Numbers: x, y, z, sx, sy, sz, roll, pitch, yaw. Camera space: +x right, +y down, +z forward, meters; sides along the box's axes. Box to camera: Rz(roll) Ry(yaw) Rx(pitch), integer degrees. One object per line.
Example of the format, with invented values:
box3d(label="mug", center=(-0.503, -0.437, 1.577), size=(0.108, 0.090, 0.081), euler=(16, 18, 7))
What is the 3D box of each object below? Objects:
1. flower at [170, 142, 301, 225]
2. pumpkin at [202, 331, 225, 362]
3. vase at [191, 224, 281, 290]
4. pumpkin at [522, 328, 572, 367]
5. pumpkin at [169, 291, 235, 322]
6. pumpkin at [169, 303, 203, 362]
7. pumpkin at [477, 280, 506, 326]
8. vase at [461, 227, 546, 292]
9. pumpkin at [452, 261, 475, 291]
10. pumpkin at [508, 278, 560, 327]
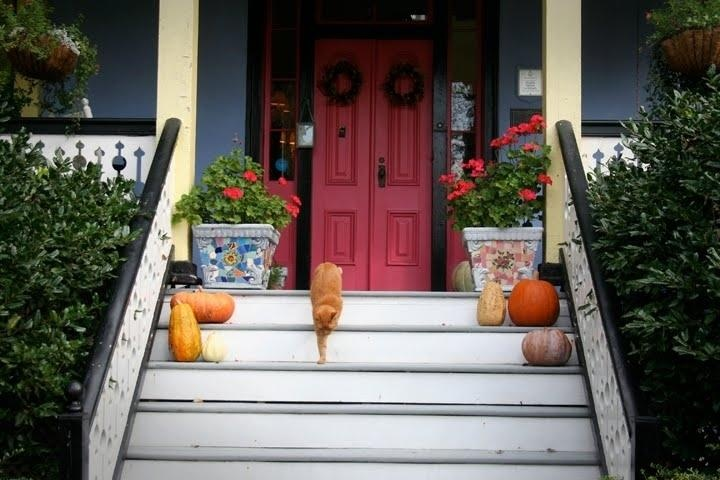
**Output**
box3d(label="flower", center=(-1.152, -0.456, 5.695), size=(0.819, 0.732, 0.716), euler=(-1, 20, -10))
box3d(label="pumpkin", center=(-1.084, 0.793, 4.692), size=(0.171, 0.258, 0.181), euler=(2, -8, -24))
box3d(label="vase", center=(-1.275, 0.166, 5.694), size=(0.772, 0.601, 0.656), euler=(-2, -6, -42))
box3d(label="pumpkin", center=(1.345, 0.771, 4.601), size=(0.262, 0.264, 0.276), euler=(1, -1, 32))
box3d(label="pumpkin", center=(-1.213, 0.507, 4.939), size=(0.421, 0.294, 0.355), euler=(4, 5, 0))
box3d(label="pumpkin", center=(-1.295, 0.693, 4.721), size=(0.237, 0.432, 0.177), euler=(0, 0, -18))
box3d(label="pumpkin", center=(1.036, 0.500, 4.982), size=(0.234, 0.344, 0.233), euler=(1, 0, 9))
box3d(label="vase", center=(1.286, 0.089, 5.675), size=(0.688, 0.624, 0.593), euler=(-2, 19, 11))
box3d(label="pumpkin", center=(1.003, 0.360, 6.251), size=(0.223, 0.311, 0.246), euler=(3, 3, 36))
box3d(label="pumpkin", center=(1.351, 0.471, 5.046), size=(0.327, 0.364, 0.348), euler=(3, 1, -17))
